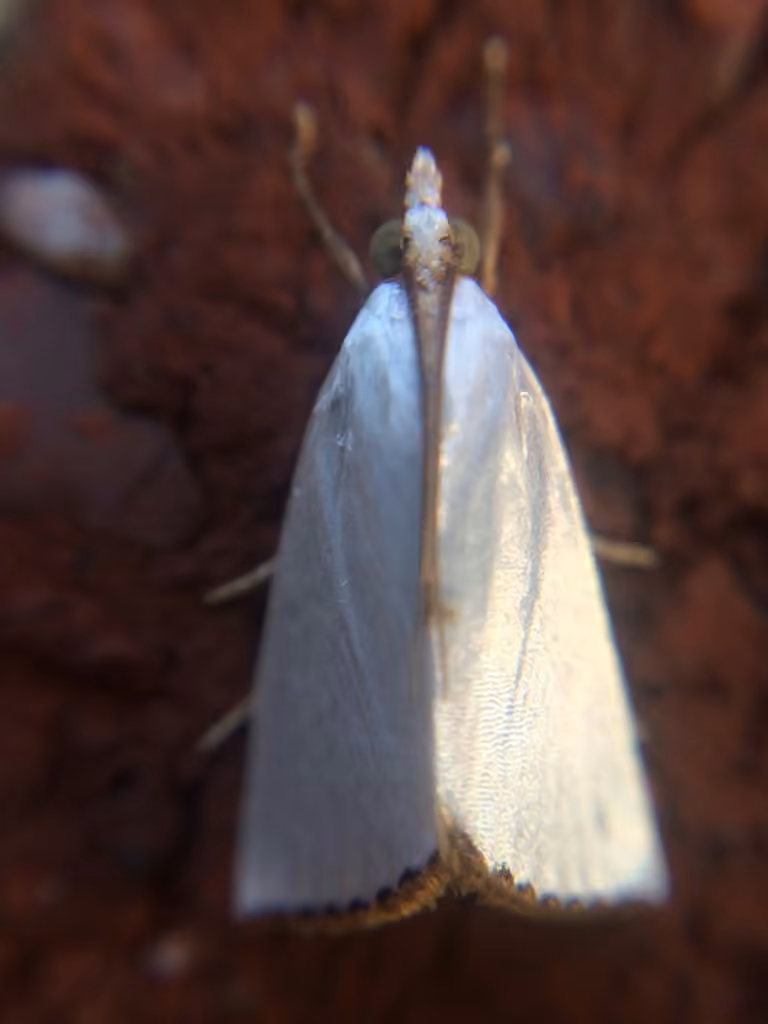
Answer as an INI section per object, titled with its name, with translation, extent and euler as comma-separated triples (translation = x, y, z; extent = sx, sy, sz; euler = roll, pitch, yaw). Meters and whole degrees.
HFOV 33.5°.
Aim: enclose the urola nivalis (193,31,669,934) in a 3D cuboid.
[urola nivalis]
translation = 0.047, -0.006, 1.085
extent = 0.311, 0.131, 0.662
euler = -1, 80, 0
